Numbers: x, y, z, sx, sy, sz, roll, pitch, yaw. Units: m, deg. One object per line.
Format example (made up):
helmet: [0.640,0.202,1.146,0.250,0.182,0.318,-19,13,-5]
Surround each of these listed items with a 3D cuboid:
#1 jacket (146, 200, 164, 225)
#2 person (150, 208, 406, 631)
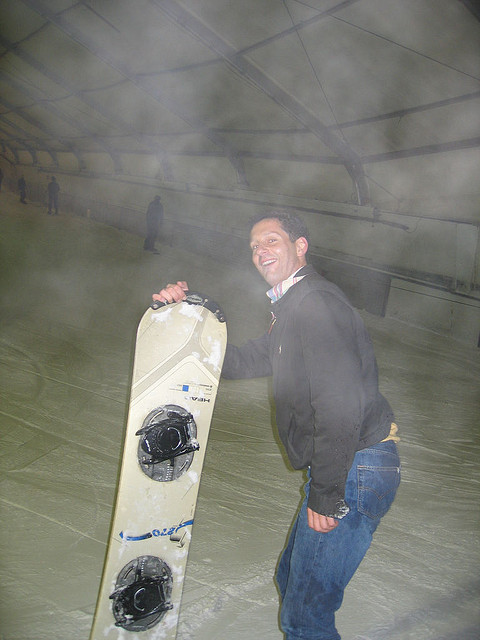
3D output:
jacket: [-1.643,-2.100,10.762,0.330,0.456,0.336,14,-1,-10]
person: [0.252,0.331,2.100,0.648,1.492,0.453,14,-2,43]
